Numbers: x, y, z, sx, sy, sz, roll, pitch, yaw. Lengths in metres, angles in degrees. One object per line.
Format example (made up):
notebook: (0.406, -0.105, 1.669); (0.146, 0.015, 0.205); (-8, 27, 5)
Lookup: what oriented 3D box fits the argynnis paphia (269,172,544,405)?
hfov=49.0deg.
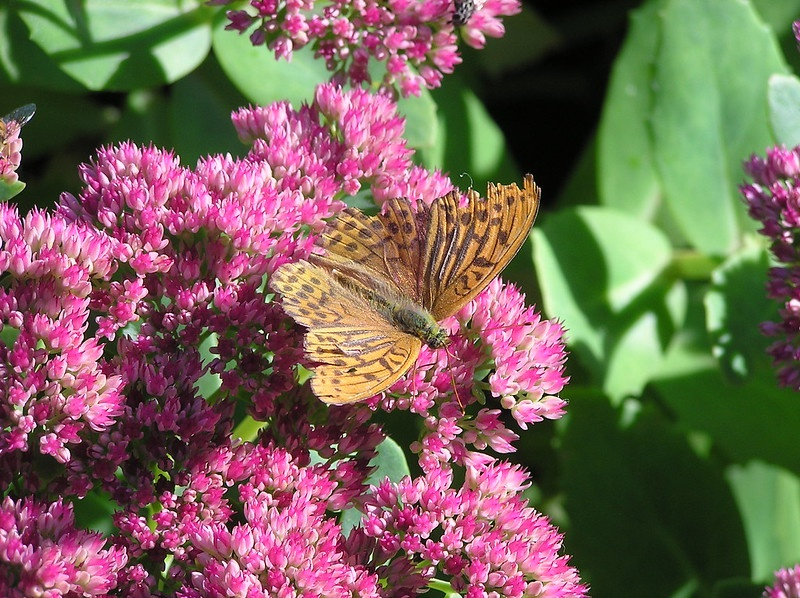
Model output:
argynnis paphia: (-0.017, -0.068, 1.354); (0.390, 0.308, 0.276); (-23, 56, -42)
